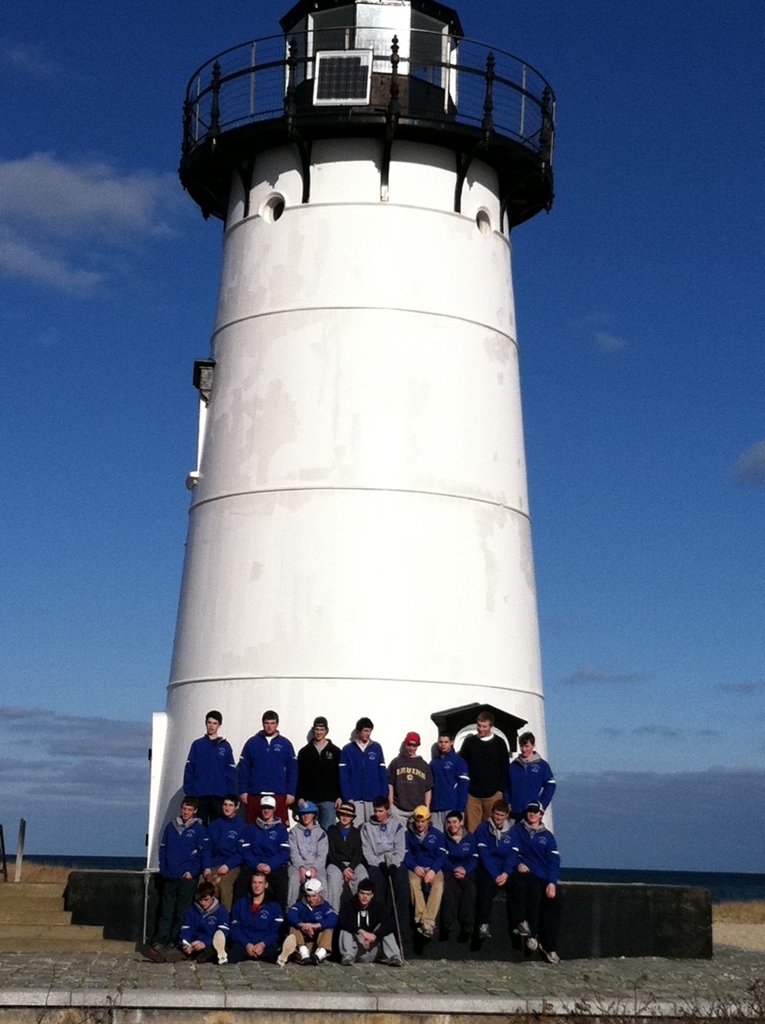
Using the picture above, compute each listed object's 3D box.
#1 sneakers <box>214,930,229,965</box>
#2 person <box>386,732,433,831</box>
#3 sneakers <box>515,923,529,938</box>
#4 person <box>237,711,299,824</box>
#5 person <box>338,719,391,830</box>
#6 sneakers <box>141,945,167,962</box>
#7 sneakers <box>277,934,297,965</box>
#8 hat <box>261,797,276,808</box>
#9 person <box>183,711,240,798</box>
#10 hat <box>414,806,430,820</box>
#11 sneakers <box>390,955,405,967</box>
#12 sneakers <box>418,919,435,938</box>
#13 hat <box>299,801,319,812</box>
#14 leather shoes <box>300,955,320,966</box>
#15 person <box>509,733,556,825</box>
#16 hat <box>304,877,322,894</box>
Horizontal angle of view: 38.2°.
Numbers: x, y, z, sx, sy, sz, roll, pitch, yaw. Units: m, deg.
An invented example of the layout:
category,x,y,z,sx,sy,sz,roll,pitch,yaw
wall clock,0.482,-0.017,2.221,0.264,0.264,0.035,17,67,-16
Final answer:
category,x,y,z,sx,sy,sz,roll,pitch,yaw
sneakers,-1.411,3.791,9.625,0.094,0.288,0.178,-1,-11,1
person,0.271,3.062,11.961,0.518,1.318,0.335,3,-2,11
sneakers,1.364,4.078,10.739,0.073,0.103,0.224,26,-19,-11
person,-1.205,2.850,11.638,0.547,1.548,0.360,2,6,-1
person,-0.200,2.877,11.647,0.465,1.459,0.345,-2,9,-8
sneakers,-2.021,3.927,9.775,0.175,0.081,0.196,4,-8,8
sneakers,-0.823,3.774,9.541,0.098,0.335,0.121,13,-15,2
hat,-1.085,2.730,10.402,0.115,0.070,0.178,2,-16,0
person,-1.828,2.603,11.669,0.542,0.997,0.302,7,-40,-15
hat,0.380,2.963,10.840,0.140,0.079,0.211,2,12,5
sneakers,0.116,3.981,9.764,0.136,0.070,0.269,2,-16,1
sneakers,0.422,3.946,10.434,0.079,0.117,0.256,5,-27,-7
hat,-0.727,2.821,10.551,0.146,0.107,0.350,4,-16,-4
leather shoes,-0.632,3.864,9.491,0.119,0.061,0.082,3,-2,6
person,1.545,3.035,11.873,0.527,1.247,0.316,-4,-31,14
hat,-0.626,3.331,9.813,0.148,0.125,0.288,6,-16,-12
